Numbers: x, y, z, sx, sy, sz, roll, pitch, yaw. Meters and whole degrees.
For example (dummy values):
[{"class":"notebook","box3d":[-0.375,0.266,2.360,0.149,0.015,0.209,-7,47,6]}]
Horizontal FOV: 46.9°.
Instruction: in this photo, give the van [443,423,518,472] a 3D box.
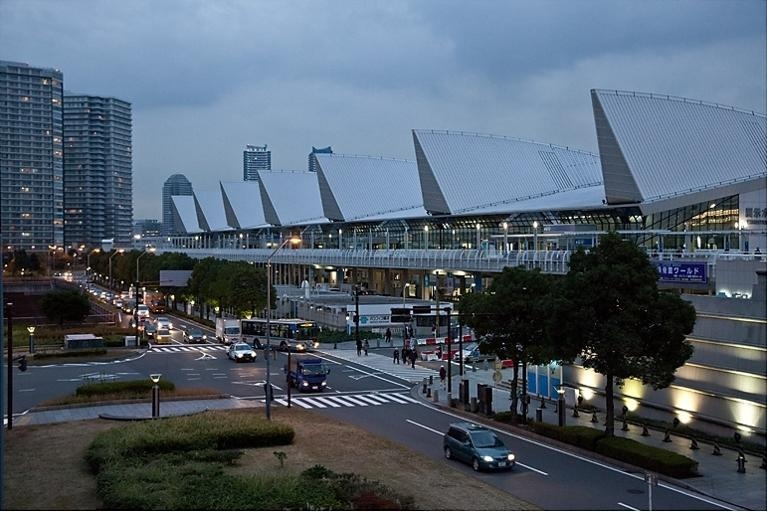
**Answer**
[{"class":"van","box3d":[6.173,12.501,57.598,4.464,2.301,2.049,6,7,45]}]

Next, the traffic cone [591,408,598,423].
[{"class":"traffic cone","box3d":[15.683,11.988,65.855,0.690,1.029,0.709,3,14,12]}]

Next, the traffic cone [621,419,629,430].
[{"class":"traffic cone","box3d":[17.284,12.176,63.509,0.582,0.625,0.541,-7,6,-43]}]

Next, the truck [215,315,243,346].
[{"class":"truck","box3d":[-17.414,8.628,100.721,1.743,2.510,4.843,0,-2,-20]}]

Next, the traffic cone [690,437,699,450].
[{"class":"traffic cone","box3d":[20.909,12.726,59.870,0.711,0.832,0.603,-11,9,-39]}]

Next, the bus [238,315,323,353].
[{"class":"bus","box3d":[-11.323,8.794,96.276,10.543,3.478,3.461,-2,-1,44]}]

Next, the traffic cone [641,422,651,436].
[{"class":"traffic cone","box3d":[18.306,12.225,62.166,0.729,0.801,0.722,-6,3,32]}]

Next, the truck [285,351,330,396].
[{"class":"truck","box3d":[-6.939,10.315,77.801,2.564,2.927,6.410,0,1,-20]}]
